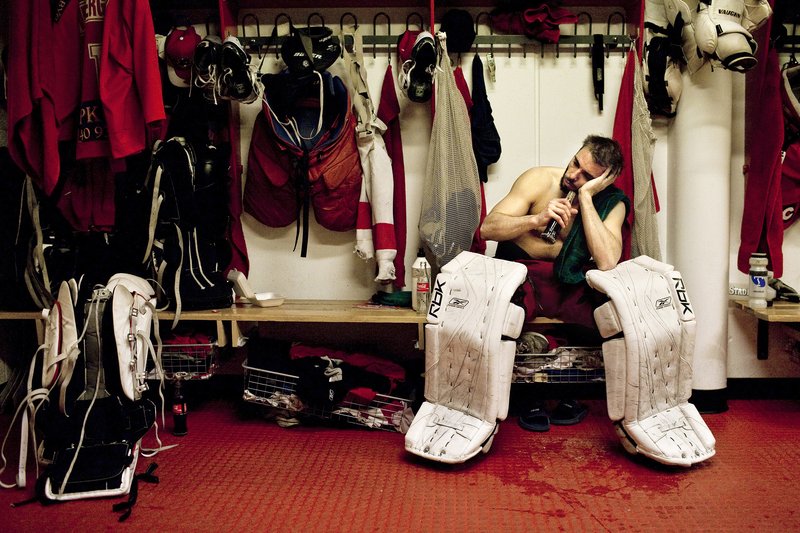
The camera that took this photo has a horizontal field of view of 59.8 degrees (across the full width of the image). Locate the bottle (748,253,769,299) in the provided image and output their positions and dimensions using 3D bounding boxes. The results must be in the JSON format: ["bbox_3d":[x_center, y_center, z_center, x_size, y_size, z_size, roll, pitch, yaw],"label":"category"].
[{"bbox_3d":[2.050,0.047,3.957,0.107,0.247,0.134,6,18,27],"label":"bottle"}]

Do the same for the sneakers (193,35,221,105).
[{"bbox_3d":[-1.085,-1.130,4.014,0.125,0.395,0.162,-1,17,13],"label":"sneakers"}]

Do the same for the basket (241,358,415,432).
[{"bbox_3d":[-0.391,0.737,3.895,0.725,0.255,0.471,14,-3,-5],"label":"basket"}]

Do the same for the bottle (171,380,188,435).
[{"bbox_3d":[-1.251,0.761,3.932,0.086,0.303,0.251,-8,17,-18],"label":"bottle"}]

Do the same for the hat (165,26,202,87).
[{"bbox_3d":[-1.280,-1.285,4.134,0.255,0.137,0.377,-3,55,4],"label":"hat"}]

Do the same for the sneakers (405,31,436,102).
[{"bbox_3d":[0.120,-1.129,3.972,0.140,0.408,0.157,2,21,-2],"label":"sneakers"}]

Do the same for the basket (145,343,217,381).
[{"bbox_3d":[-1.206,0.510,3.886,0.294,0.153,0.207,-1,3,-2],"label":"basket"}]

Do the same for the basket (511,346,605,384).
[{"bbox_3d":[0.852,0.505,3.871,0.482,0.168,0.332,0,14,-33],"label":"basket"}]

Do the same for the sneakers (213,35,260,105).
[{"bbox_3d":[-0.934,-1.101,3.968,0.187,0.377,0.165,-10,9,2],"label":"sneakers"}]
